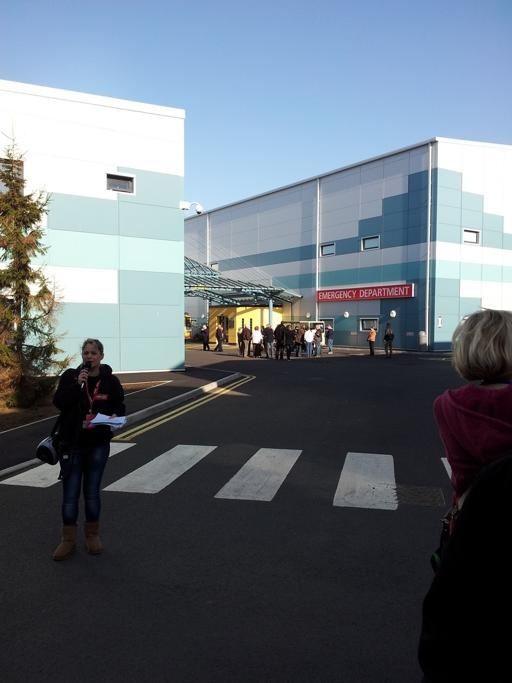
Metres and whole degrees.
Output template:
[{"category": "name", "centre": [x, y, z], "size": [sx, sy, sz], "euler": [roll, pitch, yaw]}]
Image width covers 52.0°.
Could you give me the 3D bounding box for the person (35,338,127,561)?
[{"category": "person", "centre": [-1.414, 0.844, 4.260], "size": [0.676, 1.701, 0.415], "euler": [-2, 4, -22]}]

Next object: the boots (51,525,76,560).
[{"category": "boots", "centre": [-1.523, 1.589, 4.158], "size": [0.130, 0.230, 0.271], "euler": [0, 4, 6]}]

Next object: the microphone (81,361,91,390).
[{"category": "microphone", "centre": [-1.375, 0.271, 4.245], "size": [0.065, 0.225, 0.068], "euler": [-11, -40, 7]}]

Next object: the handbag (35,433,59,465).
[{"category": "handbag", "centre": [-1.669, 0.868, 4.184], "size": [0.145, 0.215, 0.216], "euler": [-2, 4, -23]}]

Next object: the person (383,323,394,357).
[{"category": "person", "centre": [6.747, -0.034, 27.066], "size": [0.373, 1.779, 1.290], "euler": [1, 4, 16]}]
